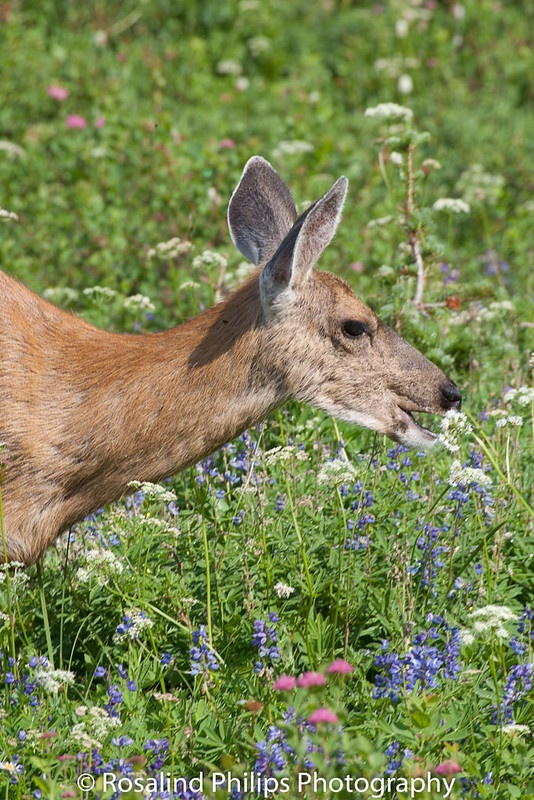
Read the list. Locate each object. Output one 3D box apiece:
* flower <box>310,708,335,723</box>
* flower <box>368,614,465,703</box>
[{"bbox_3d":[0.099,0.515,1.409,0.036,0.015,0.037,1,-4,-1],"label":"flower"},{"bbox_3d":[0.372,0.653,2.281,0.211,0.217,0.256,-10,38,27],"label":"flower"}]
